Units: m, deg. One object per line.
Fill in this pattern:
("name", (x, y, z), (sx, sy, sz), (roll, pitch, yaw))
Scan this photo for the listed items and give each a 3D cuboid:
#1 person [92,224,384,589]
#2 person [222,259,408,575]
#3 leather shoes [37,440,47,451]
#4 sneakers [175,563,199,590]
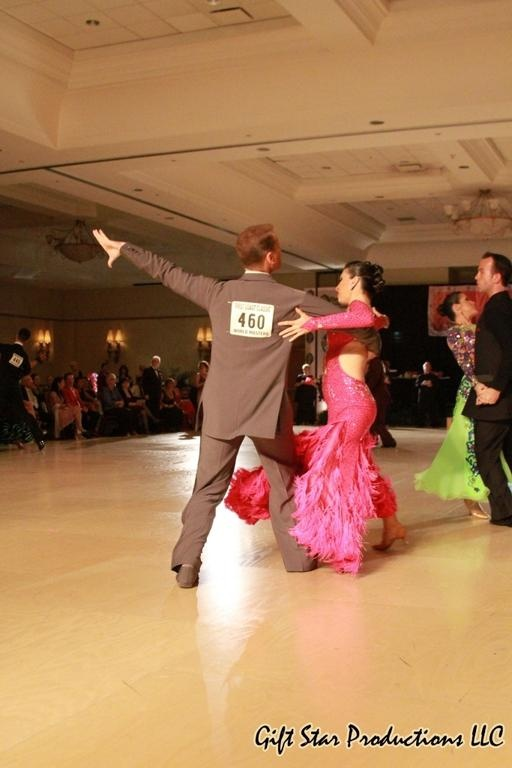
("person", (-0.081, 0.094, 2.571), (0.806, 1.631, 0.514), (-3, 11, -20))
("person", (0.294, 0.205, 2.977), (1.020, 1.405, 0.955), (-2, -15, 36))
("leather shoes", (-3.291, 0.942, 8.508), (0.078, 0.201, 0.315), (-2, 10, -16))
("sneakers", (-0.292, 0.827, 2.386), (0.078, 0.103, 0.114), (3, 5, 7))
